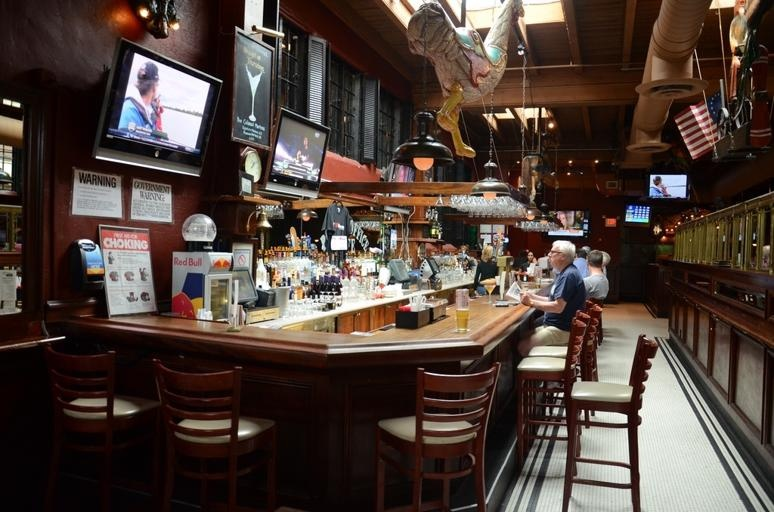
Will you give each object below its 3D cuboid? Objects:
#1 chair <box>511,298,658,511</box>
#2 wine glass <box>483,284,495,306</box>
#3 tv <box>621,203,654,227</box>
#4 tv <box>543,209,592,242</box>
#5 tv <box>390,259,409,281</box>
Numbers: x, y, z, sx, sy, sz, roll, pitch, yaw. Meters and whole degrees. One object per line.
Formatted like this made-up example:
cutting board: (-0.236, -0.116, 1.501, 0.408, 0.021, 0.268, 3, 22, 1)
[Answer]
chair: (2.005, 1.484, 5.339, 0.892, 1.648, 1.085, -2, 2, 7)
wine glass: (1.629, 0.600, 8.752, 0.254, 0.304, 0.261, 0, -1, 0)
tv: (8.842, -1.453, 19.632, 0.781, 0.702, 0.282, 2, -7, 18)
tv: (6.278, -1.059, 18.928, 1.494, 1.084, 0.162, 2, 1, 27)
tv: (0.202, 0.252, 9.262, 0.107, 0.290, 0.307, -21, -17, 22)
